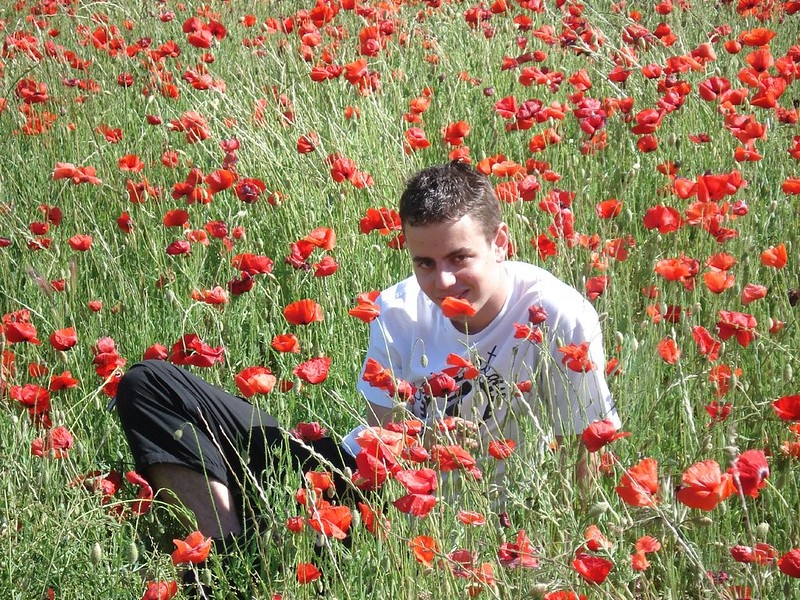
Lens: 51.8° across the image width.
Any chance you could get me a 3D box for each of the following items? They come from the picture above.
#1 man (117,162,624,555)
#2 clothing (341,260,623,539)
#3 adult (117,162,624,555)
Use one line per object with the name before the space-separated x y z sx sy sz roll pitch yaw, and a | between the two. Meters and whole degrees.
man | 0.032 0.191 3.129 1.620 1.541 1.223 0 -16 25
clothing | 0.261 0.305 2.463 0.823 0.762 0.374 -3 -5 21
adult | 0.059 0.035 3.145 1.620 1.541 1.223 0 -16 25
